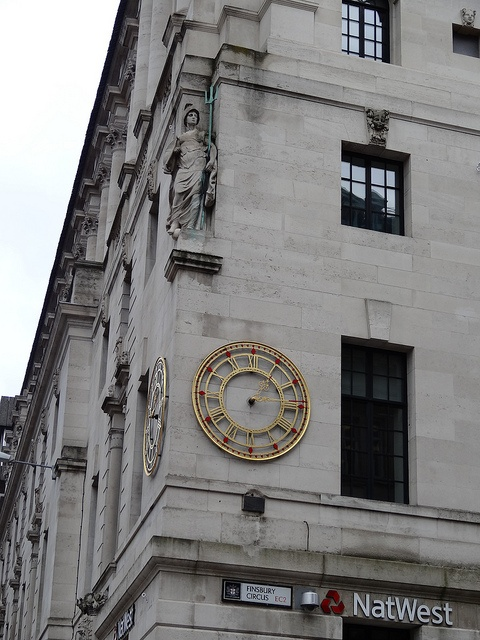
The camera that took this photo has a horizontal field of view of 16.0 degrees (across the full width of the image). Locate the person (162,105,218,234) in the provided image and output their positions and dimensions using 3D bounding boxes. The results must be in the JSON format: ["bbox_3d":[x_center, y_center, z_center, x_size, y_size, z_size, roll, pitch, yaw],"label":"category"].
[{"bbox_3d":[-1.170,-3.429,39.409,1.114,3.618,0.774,-4,-34,5],"label":"person"}]

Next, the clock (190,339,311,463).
[{"bbox_3d":[0.107,1.864,37.079,1.884,2.384,0.294,11,-28,-23],"label":"clock"}]
